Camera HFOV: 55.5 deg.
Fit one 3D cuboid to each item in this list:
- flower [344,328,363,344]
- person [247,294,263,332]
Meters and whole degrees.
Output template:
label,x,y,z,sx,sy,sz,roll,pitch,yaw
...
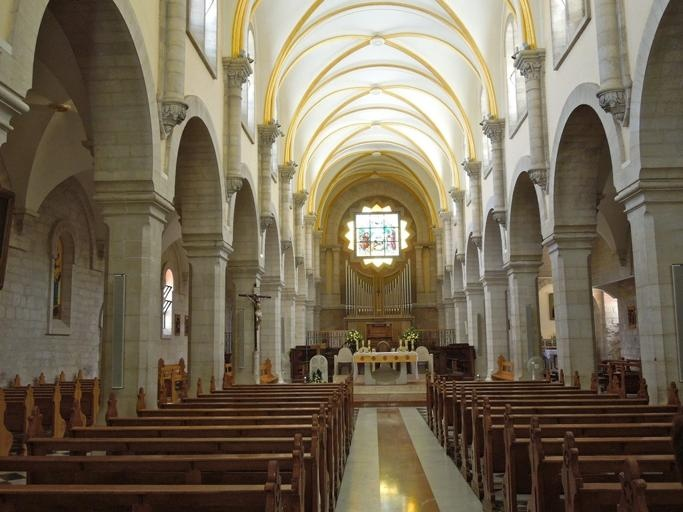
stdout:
label,x,y,z,sx,sy,sz,roll,pitch,yaw
flower,0.600,3.653,29.289,0.647,0.771,0.704,0,-6,36
person,-2.369,1.522,18.229,0.318,1.037,0.689,-9,-4,28
